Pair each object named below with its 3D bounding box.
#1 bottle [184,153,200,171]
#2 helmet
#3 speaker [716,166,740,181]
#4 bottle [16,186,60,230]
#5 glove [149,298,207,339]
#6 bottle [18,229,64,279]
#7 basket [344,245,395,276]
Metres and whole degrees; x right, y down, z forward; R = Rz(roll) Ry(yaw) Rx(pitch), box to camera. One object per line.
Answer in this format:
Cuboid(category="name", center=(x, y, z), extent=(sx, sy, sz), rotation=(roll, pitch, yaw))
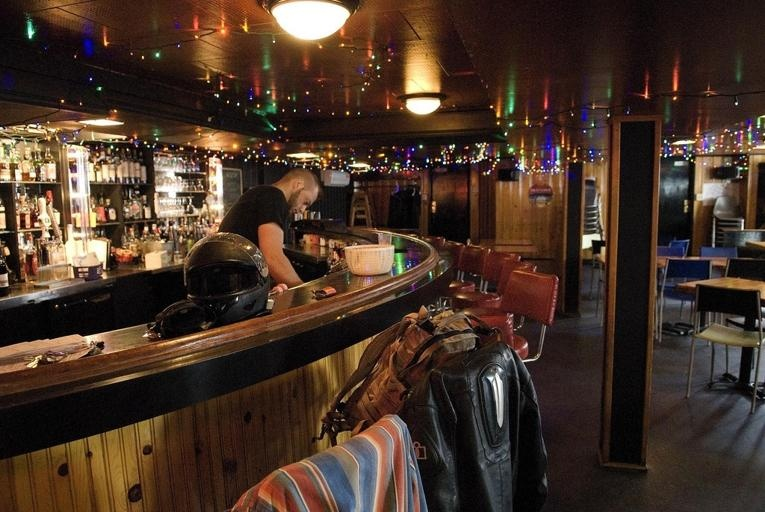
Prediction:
Cuboid(category="bottle", center=(-2.822, -1.360, 8.699), extent=(0.207, 0.268, 0.205), rotation=(2, 14, -1))
Cuboid(category="helmet", center=(-0.842, 0.131, 3.170), extent=(0.384, 0.434, 0.504), rotation=(-5, -8, 1))
Cuboid(category="speaker", center=(6.811, -1.608, 11.632), extent=(0.282, 0.211, 0.277), rotation=(-1, 4, -21))
Cuboid(category="bottle", center=(-3.655, -0.490, 6.176), extent=(0.151, 0.416, 0.437), rotation=(2, 9, 13))
Cuboid(category="glove", center=(-1.067, 0.329, 3.024), extent=(0.262, 0.096, 0.185), rotation=(-14, 18, -24))
Cuboid(category="bottle", center=(-3.574, 0.003, 6.093), extent=(0.214, 0.610, 0.439), rotation=(-5, -8, 15))
Cuboid(category="basket", center=(-0.098, 0.048, 4.140), extent=(0.257, 0.147, 0.232), rotation=(3, -3, -15))
